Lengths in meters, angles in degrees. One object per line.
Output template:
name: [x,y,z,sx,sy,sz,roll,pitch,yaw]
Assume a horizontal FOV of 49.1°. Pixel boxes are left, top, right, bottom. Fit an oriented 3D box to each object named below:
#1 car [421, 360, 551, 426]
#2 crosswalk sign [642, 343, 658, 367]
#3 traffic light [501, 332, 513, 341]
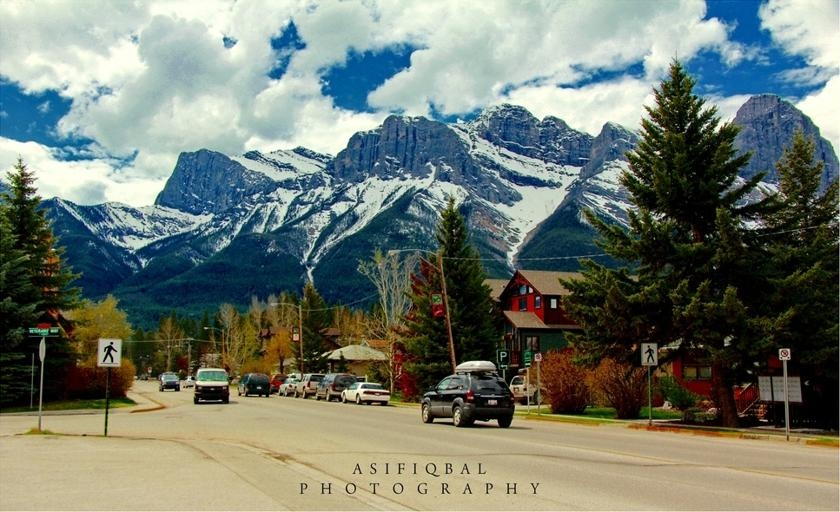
car: [2.624,8.221,52.494,4.882,3.039,2.158,0,-3,39]
crosswalk sign: [13.190,5.625,52.856,0.944,1.188,0.409,2,-2,0]
traffic light: [8.755,8.044,91.629,0.492,0.779,1.511,2,-3,-19]
